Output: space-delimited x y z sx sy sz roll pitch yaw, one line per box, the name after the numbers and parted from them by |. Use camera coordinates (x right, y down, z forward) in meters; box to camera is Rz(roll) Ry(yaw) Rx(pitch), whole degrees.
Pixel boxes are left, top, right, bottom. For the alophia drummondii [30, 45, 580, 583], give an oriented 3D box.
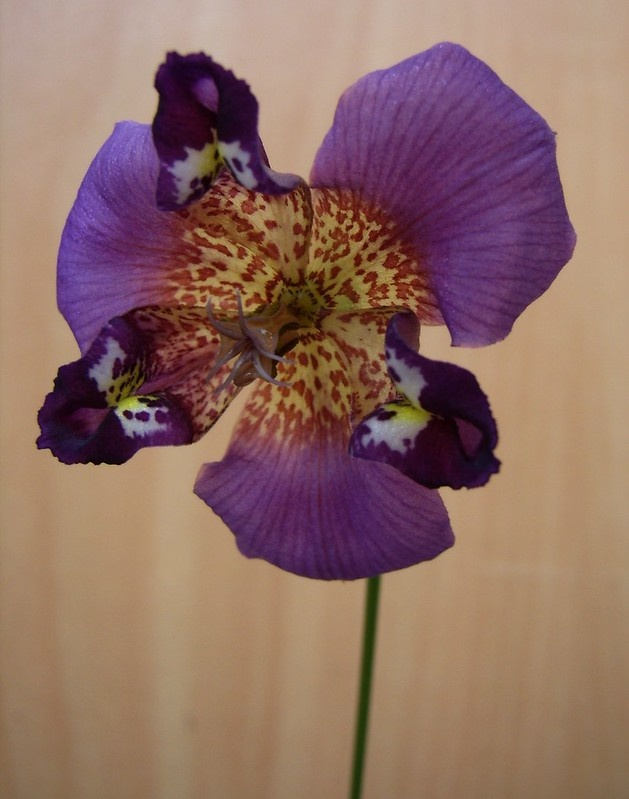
-0.023 -0.076 0.474 0.335 0.274 0.129 25 29 6 | alophia drummondii
